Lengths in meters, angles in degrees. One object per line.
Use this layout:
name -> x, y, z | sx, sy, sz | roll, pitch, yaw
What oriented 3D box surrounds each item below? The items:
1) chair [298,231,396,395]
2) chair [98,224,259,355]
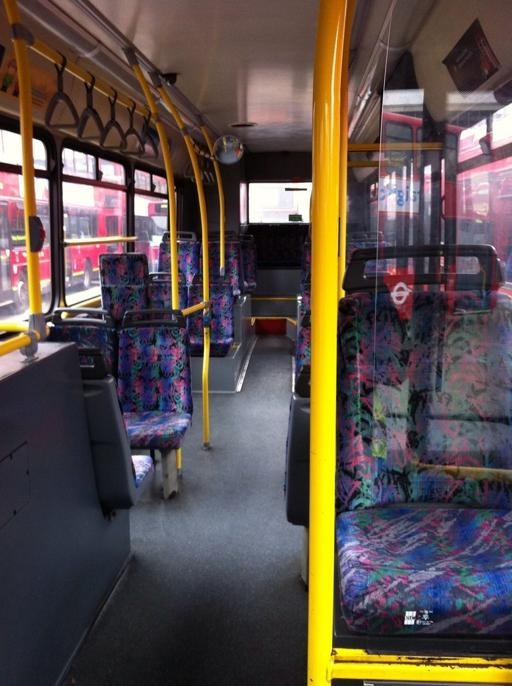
chair -> 0.747, -0.298, 3.940 | 0.706, 1.798, 0.912 | 1, 6, 5
chair -> -0.789, -0.572, 5.157 | 1.583, 1.700, 1.012 | 1, 4, 4
